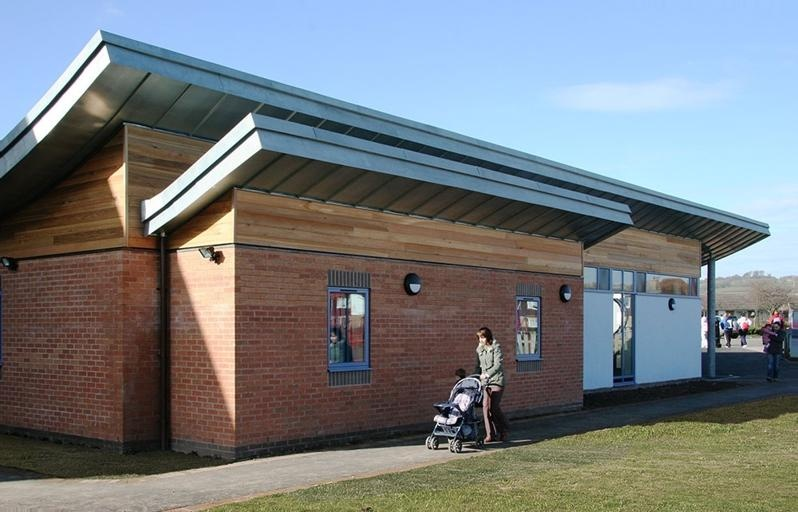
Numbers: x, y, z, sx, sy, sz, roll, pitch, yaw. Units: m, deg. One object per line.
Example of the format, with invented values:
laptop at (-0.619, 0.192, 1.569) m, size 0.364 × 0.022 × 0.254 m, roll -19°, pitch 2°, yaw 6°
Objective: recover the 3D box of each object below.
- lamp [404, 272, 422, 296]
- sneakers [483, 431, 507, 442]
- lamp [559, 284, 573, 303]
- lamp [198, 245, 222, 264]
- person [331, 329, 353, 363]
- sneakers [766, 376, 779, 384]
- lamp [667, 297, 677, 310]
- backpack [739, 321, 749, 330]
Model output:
lamp at (0.292, 0.627, 16.402) m, size 0.218 × 0.521 × 0.616 m, roll -6°, pitch -6°, yaw 38°
sneakers at (2.070, 3.808, 15.342) m, size 0.200 × 0.215 × 0.658 m, roll -11°, pitch -17°, yaw 42°
lamp at (4.512, 1.011, 19.813) m, size 0.181 × 0.500 × 0.585 m, roll -5°, pitch -4°, yaw 36°
lamp at (-3.711, -0.019, 14.136) m, size 0.633 × 0.344 × 0.249 m, roll -10°, pitch -15°, yaw 38°
person at (-1.229, 1.882, 15.317) m, size 0.449 × 0.662 × 0.806 m, roll -2°, pitch -5°, yaw 33°
sneakers at (13.032, 4.306, 25.387) m, size 0.180 × 0.201 × 0.558 m, roll -1°, pitch -20°, yaw 46°
lamp at (9.857, 1.739, 26.252) m, size 0.134 × 0.470 × 0.508 m, roll -11°, pitch -16°, yaw 38°
backpack at (24.865, 4.957, 52.524) m, size 0.512 × 0.651 × 0.379 m, roll 22°, pitch 39°, yaw 37°
